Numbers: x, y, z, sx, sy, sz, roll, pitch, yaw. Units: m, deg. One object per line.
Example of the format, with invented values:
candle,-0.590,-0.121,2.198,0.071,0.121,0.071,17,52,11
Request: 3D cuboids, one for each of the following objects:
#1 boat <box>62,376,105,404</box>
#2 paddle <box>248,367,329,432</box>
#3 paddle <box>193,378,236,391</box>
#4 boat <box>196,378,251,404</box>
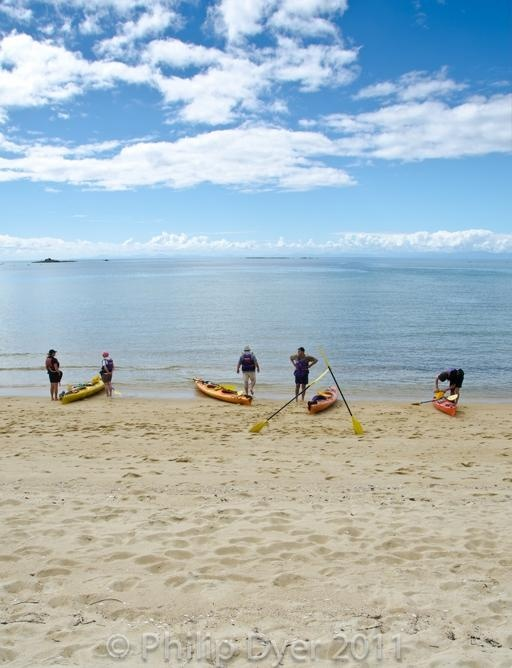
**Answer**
boat,-4.730,1.577,18.032,0.500,0.363,1.511,1,2,12
paddle,0.801,1.708,16.846,2.150,0.273,0.156,-34,-6,-10
paddle,-1.186,1.487,19.160,0.414,0.254,1.928,-7,9,-38
boat,-0.906,1.579,18.115,0.541,0.293,2.384,-2,1,-26
